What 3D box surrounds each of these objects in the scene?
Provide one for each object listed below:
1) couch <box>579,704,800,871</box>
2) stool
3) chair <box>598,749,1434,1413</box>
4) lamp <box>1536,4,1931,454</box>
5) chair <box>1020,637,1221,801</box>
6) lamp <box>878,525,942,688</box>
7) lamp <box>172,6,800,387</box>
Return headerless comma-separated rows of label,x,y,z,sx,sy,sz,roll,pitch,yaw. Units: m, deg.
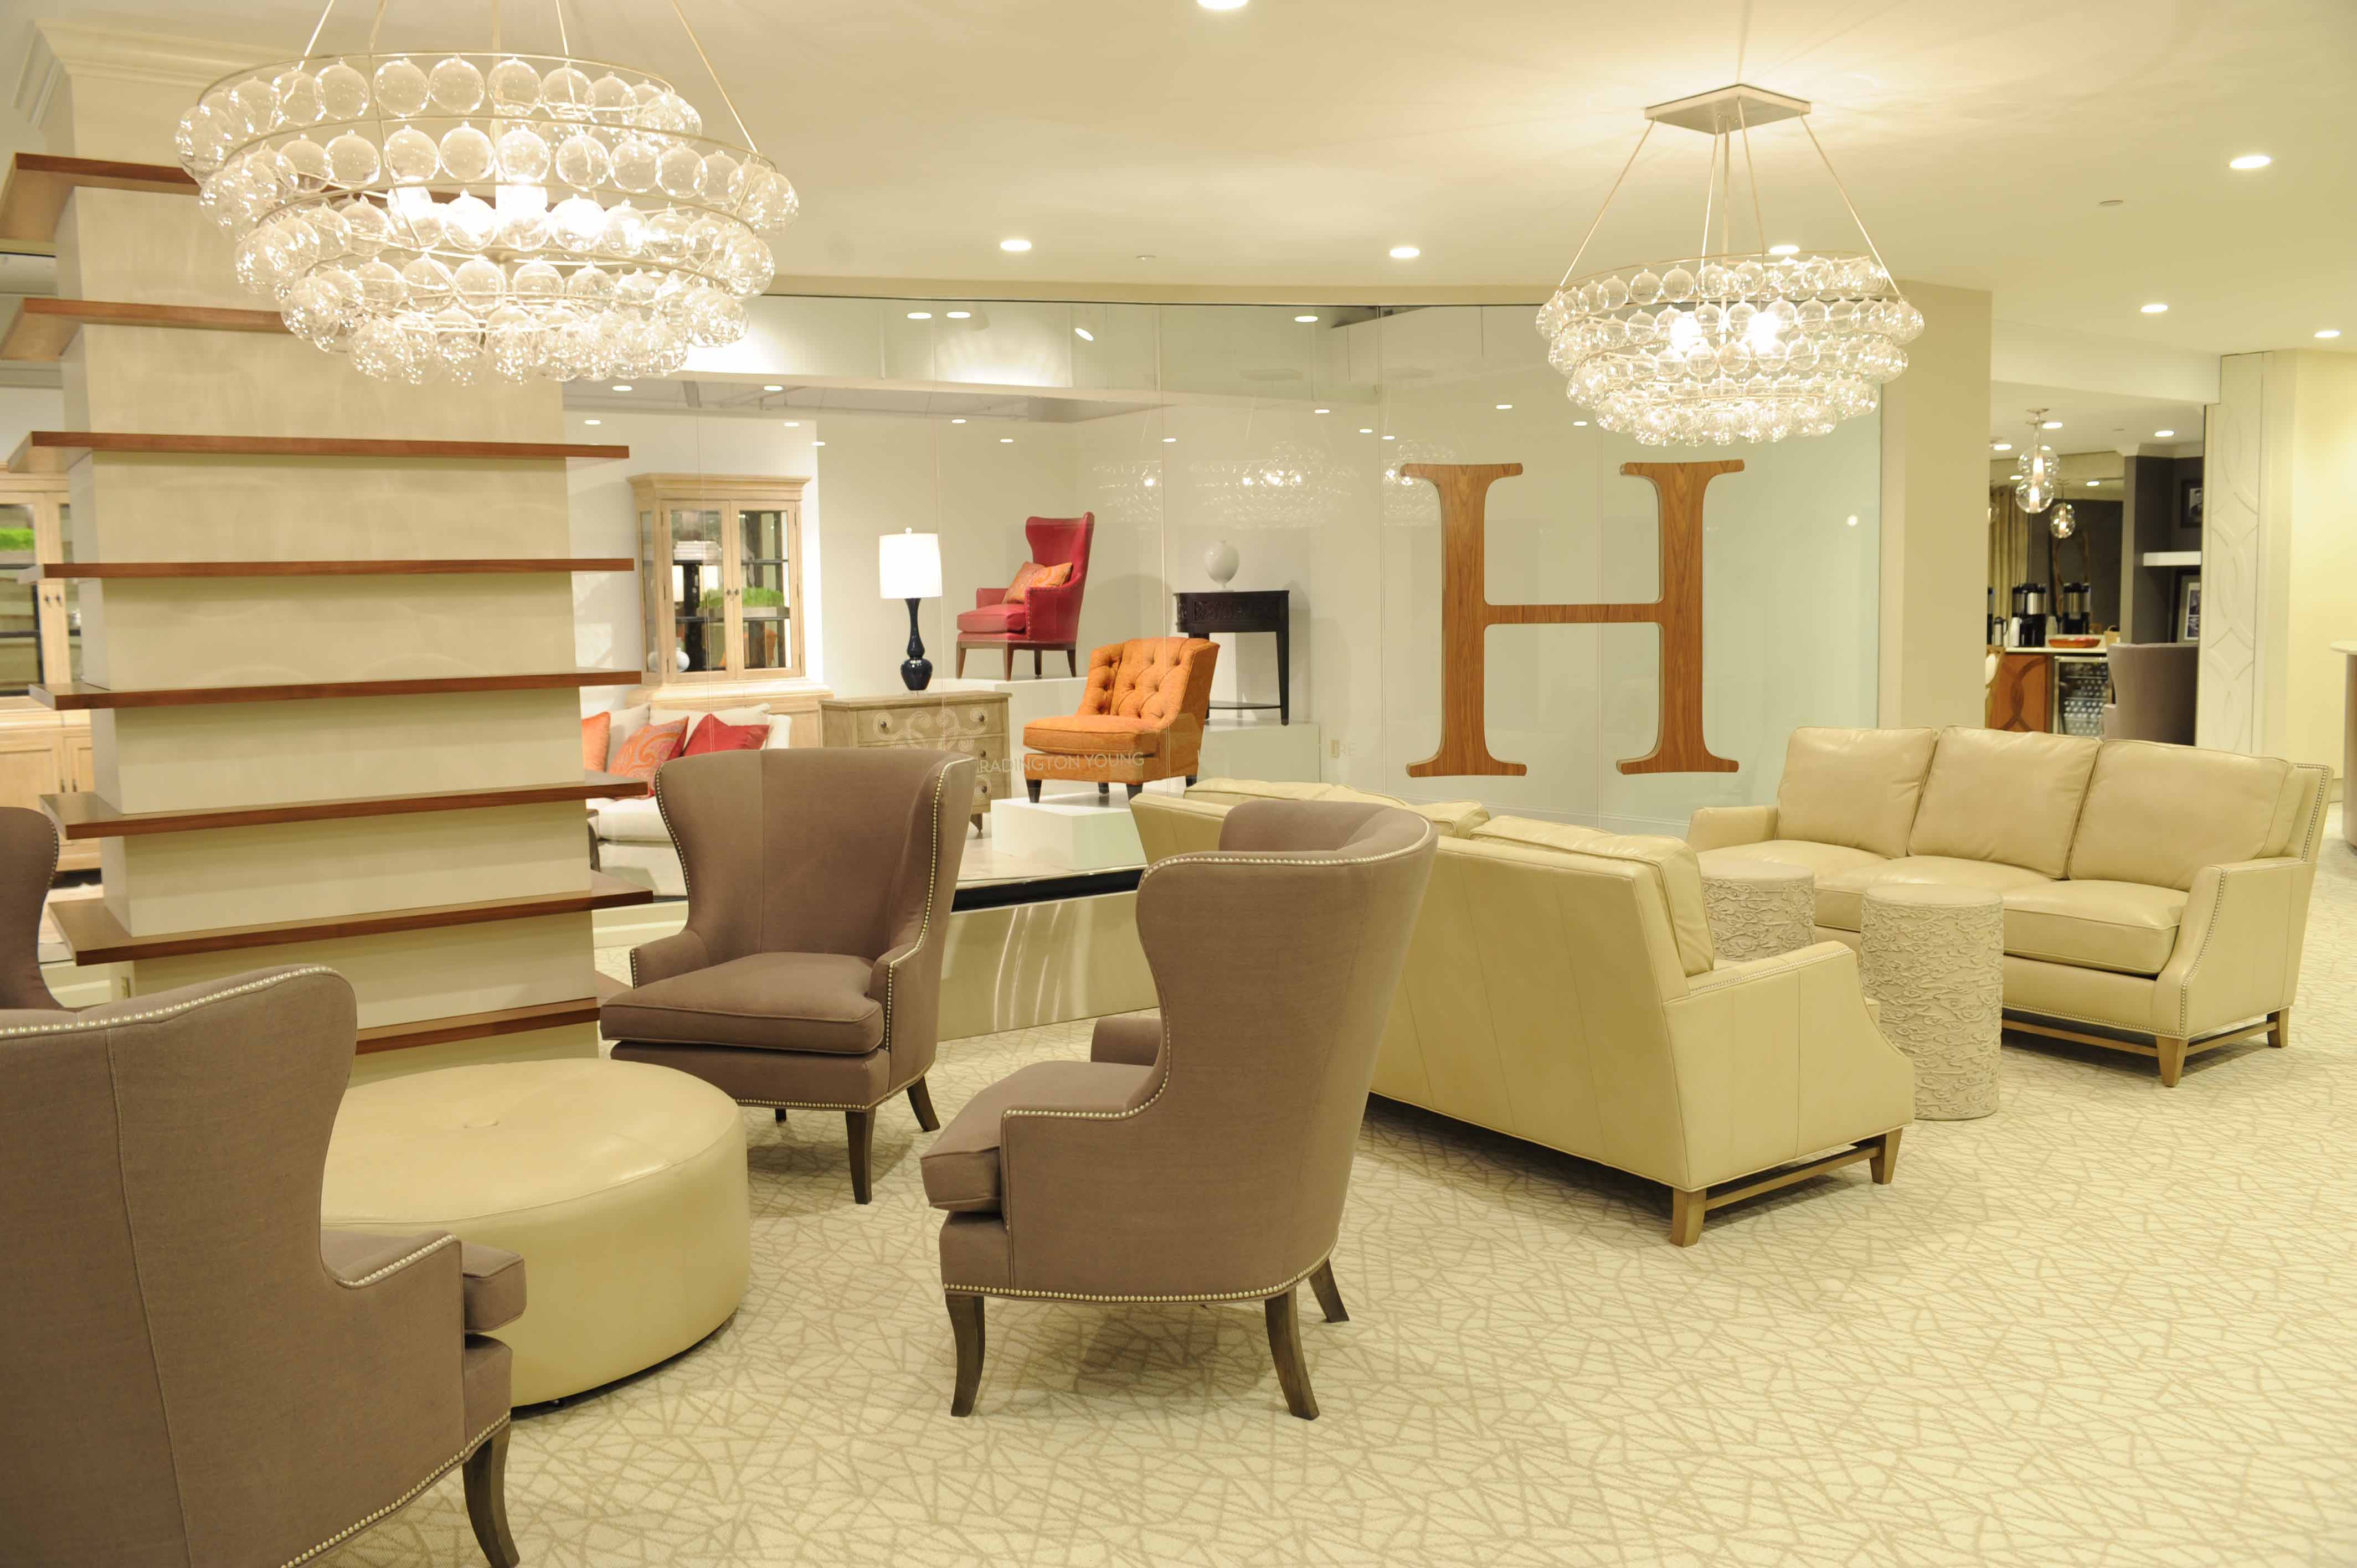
couch,-2.500,-0.004,8.275,1.385,1.003,0.789,-1,-2,32
stool,-1.697,1.010,4.159,0.897,0.349,0.919,12,11,38
chair,-0.160,0.623,3.962,1.414,1.538,1.364,2,1,10
lamp,2.250,-2.202,6.624,1.507,2.009,1.482,1,-4,12
chair,-0.236,-0.366,8.051,0.720,0.963,0.906,0,-1,41
lamp,-1.321,-0.857,7.906,0.312,0.797,0.154,-3,8,-10
lamp,-1.535,-1.331,3.889,1.077,0.612,1.101,0,2,29
